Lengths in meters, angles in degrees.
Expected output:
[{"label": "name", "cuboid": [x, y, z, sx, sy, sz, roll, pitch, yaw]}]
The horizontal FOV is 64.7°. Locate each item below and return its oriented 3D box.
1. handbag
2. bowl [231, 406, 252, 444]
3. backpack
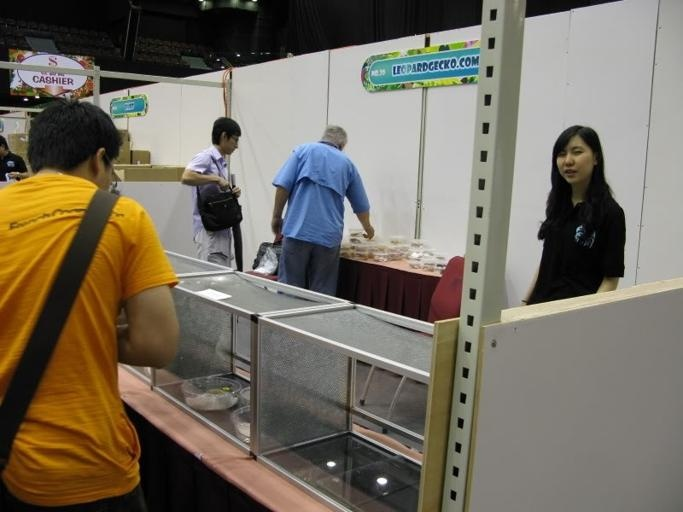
[{"label": "handbag", "cuboid": [-0.917, -0.453, 3.983, 0.328, 0.530, 0.185, -17, 20, -38]}, {"label": "bowl", "cuboid": [-0.331, 0.560, 1.791, 0.086, 0.064, 0.091, 0, 1, 0]}, {"label": "backpack", "cuboid": [-0.921, -0.456, 3.992, 0.207, 0.549, 0.348, 15, 25, 41]}]
